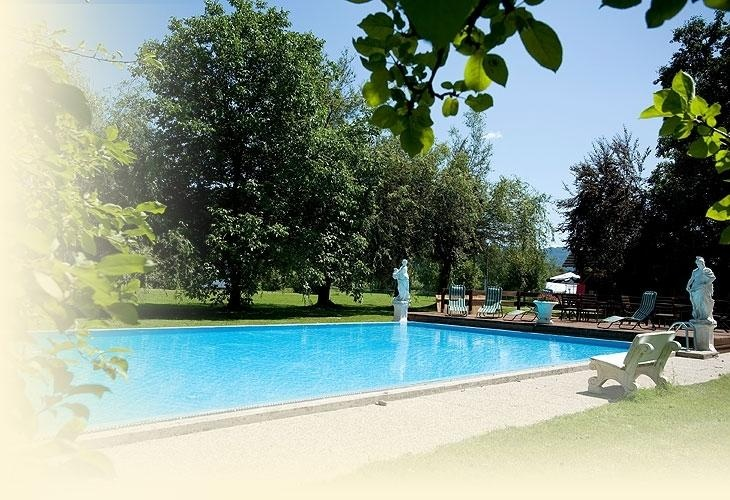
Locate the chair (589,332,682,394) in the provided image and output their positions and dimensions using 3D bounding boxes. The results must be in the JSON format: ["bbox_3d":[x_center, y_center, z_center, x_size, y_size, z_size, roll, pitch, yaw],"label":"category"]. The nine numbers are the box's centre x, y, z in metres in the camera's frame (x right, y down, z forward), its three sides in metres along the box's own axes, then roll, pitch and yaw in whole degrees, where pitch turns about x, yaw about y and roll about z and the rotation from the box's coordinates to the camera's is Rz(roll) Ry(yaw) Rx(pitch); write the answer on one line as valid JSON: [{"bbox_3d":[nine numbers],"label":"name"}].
[{"bbox_3d":[4.603,1.918,9.186,1.263,1.063,1.214,5,-8,-42],"label":"chair"}]
